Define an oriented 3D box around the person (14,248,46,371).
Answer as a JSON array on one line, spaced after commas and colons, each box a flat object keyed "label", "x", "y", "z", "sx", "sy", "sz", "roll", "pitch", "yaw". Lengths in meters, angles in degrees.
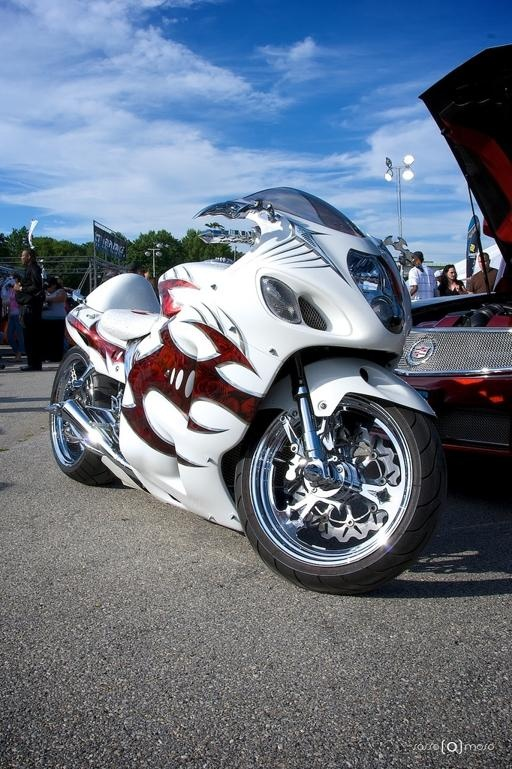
[{"label": "person", "x": -4.931, "y": -1.645, "z": 12.034, "sx": 0.554, "sy": 2.640, "sz": 1.015, "roll": 0, "pitch": 0, "yaw": -23}]
